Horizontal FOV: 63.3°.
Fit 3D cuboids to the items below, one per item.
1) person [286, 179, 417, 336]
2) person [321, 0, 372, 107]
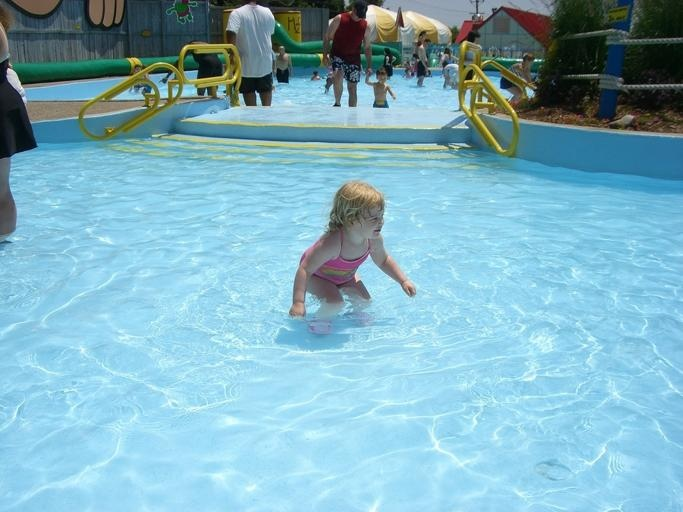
[{"bbox_3d":[0.027,-0.008,3.207,0.780,0.829,0.305,-6,25,-24],"label":"person"},{"bbox_3d":[0.085,-3.475,9.607,0.828,1.760,1.220,4,21,0],"label":"person"}]
